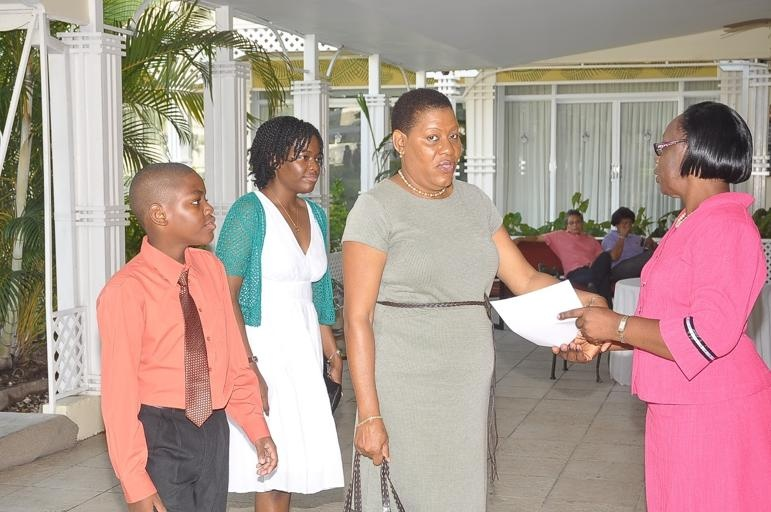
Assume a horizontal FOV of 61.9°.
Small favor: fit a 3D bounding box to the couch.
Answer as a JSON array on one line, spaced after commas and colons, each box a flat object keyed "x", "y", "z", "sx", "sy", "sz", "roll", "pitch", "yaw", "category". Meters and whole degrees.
[{"x": 0.717, "y": 0.084, "z": 2.755, "sx": 0.414, "sy": 0.443, "sz": 0.276, "roll": 1, "pitch": 0, "yaw": 17, "category": "couch"}]

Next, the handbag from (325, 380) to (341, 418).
[{"x": -0.299, "y": 0.751, "z": 3.388, "sx": 0.062, "sy": 0.201, "sz": 0.083, "roll": -13, "pitch": -29, "yaw": 37, "category": "handbag"}]
